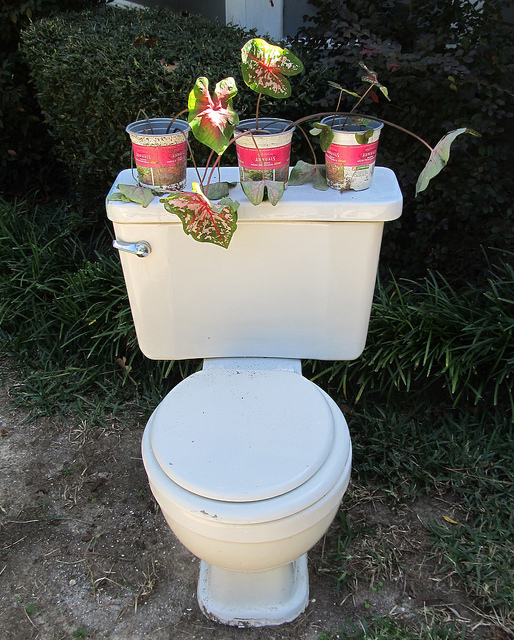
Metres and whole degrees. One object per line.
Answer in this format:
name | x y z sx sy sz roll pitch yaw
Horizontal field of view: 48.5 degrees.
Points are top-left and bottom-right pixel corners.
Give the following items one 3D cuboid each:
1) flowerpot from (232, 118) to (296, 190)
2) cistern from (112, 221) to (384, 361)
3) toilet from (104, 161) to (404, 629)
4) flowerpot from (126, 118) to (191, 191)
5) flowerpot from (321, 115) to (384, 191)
flowerpot | 0.016 -0.354 1.257 0.147 0.146 0.155 0 34 -4
cistern | 0.002 -0.117 1.487 0.649 0.379 0.323 -2 19 4
toilet | -0.047 0.195 1.376 0.649 1.040 0.778 6 39 9
flowerpot | -0.210 -0.366 1.244 0.126 0.150 0.145 -5 38 -5
flowerpot | 0.196 -0.356 1.254 0.129 0.165 0.129 10 32 13
